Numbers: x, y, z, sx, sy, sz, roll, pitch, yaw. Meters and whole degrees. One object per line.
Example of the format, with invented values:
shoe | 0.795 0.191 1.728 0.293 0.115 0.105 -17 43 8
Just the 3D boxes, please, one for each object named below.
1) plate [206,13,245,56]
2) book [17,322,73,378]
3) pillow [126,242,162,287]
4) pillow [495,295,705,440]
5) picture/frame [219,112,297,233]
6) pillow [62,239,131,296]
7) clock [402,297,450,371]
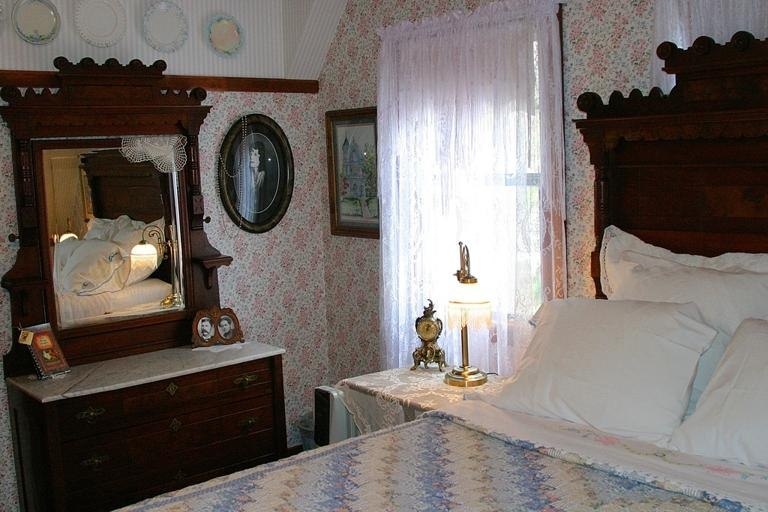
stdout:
plate | -1.225 -1.693 4.350 0.299 0.314 0.320 -11 52 -11
book | -2.191 0.608 3.629 0.219 0.325 0.258 -15 14 -43
pillow | -1.724 0.036 4.059 0.187 0.308 0.189 7 7 12
pillow | 1.055 0.509 2.696 0.893 0.494 0.445 2 12 32
picture/frame | -1.035 -0.672 4.503 0.874 1.236 0.095 -4 4 -43
pillow | -1.950 0.078 3.818 0.343 0.353 0.103 9 -3 -22
clock | 0.281 0.512 3.639 0.212 0.428 0.211 1 6 30
